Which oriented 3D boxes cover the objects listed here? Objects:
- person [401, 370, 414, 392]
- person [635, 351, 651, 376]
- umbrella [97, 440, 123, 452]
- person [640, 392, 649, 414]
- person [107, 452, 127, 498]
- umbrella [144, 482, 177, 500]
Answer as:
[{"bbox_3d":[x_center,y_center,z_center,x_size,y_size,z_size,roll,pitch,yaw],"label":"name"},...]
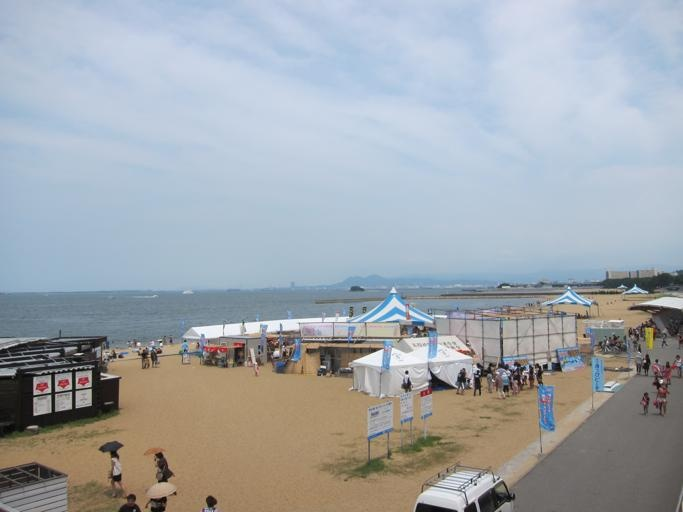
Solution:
[{"bbox_3d":[3.750,7.160,33.715,0.671,1.174,1.683,-2,-2,5],"label":"person"},{"bbox_3d":[19.574,6.996,38.324,1.111,1.702,0.550,3,8,44],"label":"person"},{"bbox_3d":[-8.735,7.188,22.285,0.759,0.377,0.422,-2,-2,8],"label":"umbrella"},{"bbox_3d":[14.840,7.103,28.845,0.304,0.878,1.090,-2,-2,25],"label":"person"},{"bbox_3d":[-8.473,8.088,22.138,0.440,1.648,0.834,-1,-2,-28],"label":"person"},{"bbox_3d":[-6.151,7.963,19.947,0.833,0.553,0.854,-1,-2,-35],"label":"umbrella"}]
